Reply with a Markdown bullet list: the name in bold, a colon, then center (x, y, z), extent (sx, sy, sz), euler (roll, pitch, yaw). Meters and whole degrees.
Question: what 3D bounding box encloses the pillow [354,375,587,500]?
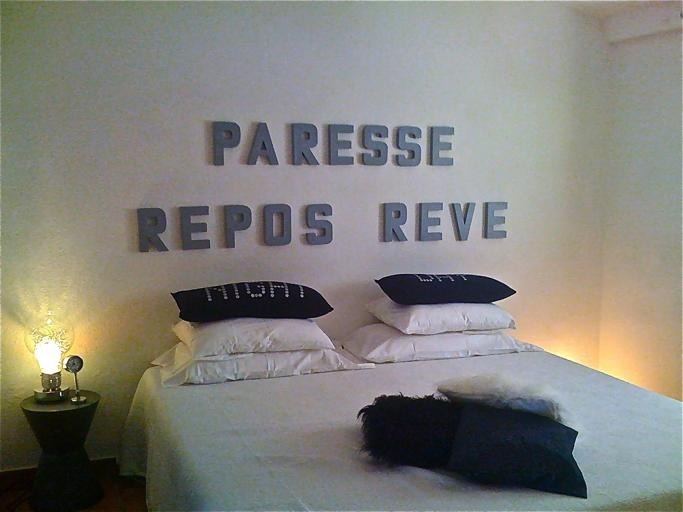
- **pillow**: center (0.485, 0.649, 1.862), extent (0.484, 0.164, 0.447), euler (1, 8, -1)
